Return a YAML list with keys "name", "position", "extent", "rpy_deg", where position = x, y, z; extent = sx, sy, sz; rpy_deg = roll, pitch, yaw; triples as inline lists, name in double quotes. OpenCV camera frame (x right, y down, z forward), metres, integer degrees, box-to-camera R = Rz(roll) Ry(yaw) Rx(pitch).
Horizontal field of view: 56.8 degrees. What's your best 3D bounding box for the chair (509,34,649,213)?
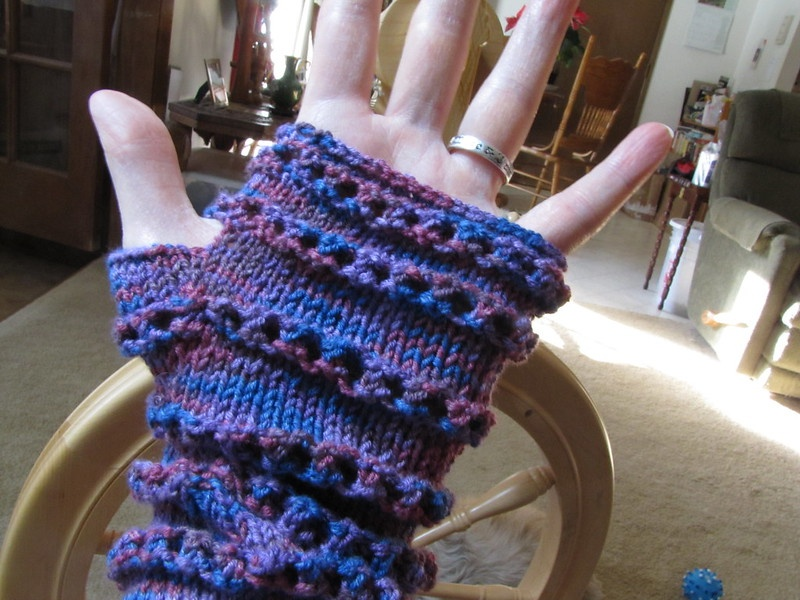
- name: "chair"
  position: [0.990, -0.962, 4.410]
  extent: [0.521, 1.158, 0.619]
  rpy_deg: [-4, 21, -30]
